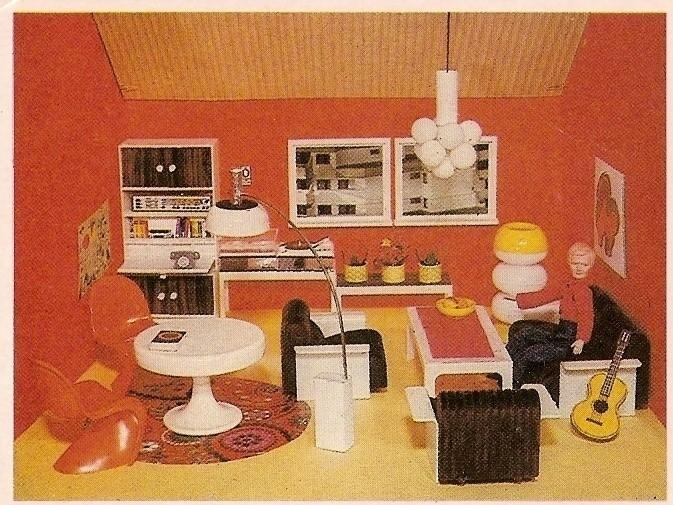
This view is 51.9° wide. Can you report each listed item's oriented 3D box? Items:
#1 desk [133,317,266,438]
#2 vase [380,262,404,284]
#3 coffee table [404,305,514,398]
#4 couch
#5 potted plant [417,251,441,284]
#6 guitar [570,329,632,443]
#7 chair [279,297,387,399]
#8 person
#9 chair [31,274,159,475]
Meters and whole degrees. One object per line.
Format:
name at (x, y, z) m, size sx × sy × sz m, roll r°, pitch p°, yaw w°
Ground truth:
desk at (-1.195, 1.115, 6.173) m, size 1.012 × 0.694 × 1.016 m, roll -1°, pitch 13°, yaw -6°
vase at (0.653, 0.242, 8.115) m, size 0.226 × 0.169 × 0.228 m, roll 0°, pitch 4°, yaw -4°
coffee table at (1.129, 0.854, 6.374) m, size 0.644 × 0.543 × 1.289 m, roll 0°, pitch 16°, yaw 3°
couch at (2.300, 0.797, 6.335) m, size 0.821 × 0.745 × 1.523 m, roll -1°, pitch 11°, yaw 4°
potted plant at (1.070, 0.187, 8.004) m, size 0.319 × 0.360 × 0.324 m, roll 0°, pitch 1°, yaw -3°
guitar at (2.255, 1.114, 5.721) m, size 0.401 × 0.973 × 0.146 m, roll 21°, pitch 3°, yaw 19°
chair at (0.007, 0.865, 6.459) m, size 1.056 × 0.891 × 0.774 m, roll -2°, pitch 10°, yaw -3°
person at (2.030, 0.756, 6.633) m, size 0.871 × 1.706 × 0.745 m, roll 2°, pitch 10°, yaw 5°
chair at (-1.941, 0.964, 5.848) m, size 0.902 × 0.457 × 1.553 m, roll 8°, pitch 52°, yaw -13°
